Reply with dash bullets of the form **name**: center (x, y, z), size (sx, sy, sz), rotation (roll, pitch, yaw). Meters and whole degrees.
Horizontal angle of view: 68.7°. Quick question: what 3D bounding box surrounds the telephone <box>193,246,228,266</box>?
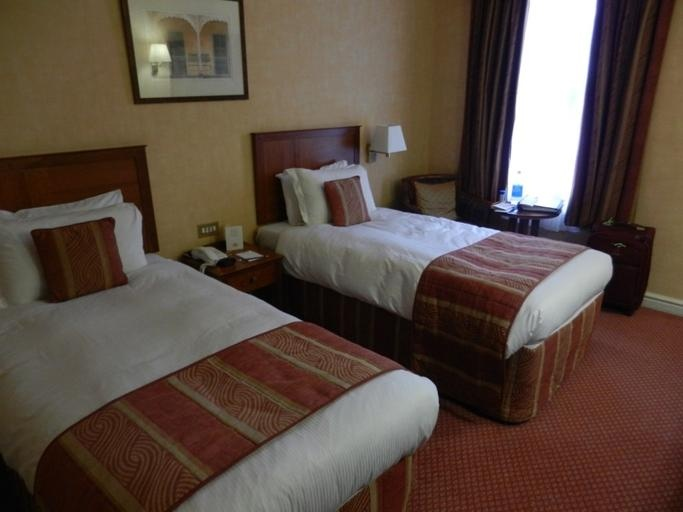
- **telephone**: center (-1.035, -0.021, 3.890), size (0.231, 0.079, 0.141), rotation (14, 25, 36)

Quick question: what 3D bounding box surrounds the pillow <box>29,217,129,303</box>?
- **pillow**: center (-1.619, 0.002, 3.116), size (0.532, 0.530, 0.144), rotation (-2, 8, -30)

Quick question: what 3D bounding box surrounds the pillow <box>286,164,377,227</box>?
- **pillow**: center (-0.216, -0.570, 4.316), size (0.631, 0.634, 0.186), rotation (-10, -5, -31)

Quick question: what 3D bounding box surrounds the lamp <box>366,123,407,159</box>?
- **lamp**: center (0.457, -1.215, 5.166), size (0.367, 0.443, 0.322), rotation (16, 30, 36)

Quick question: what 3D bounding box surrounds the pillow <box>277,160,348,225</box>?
- **pillow**: center (-0.299, -0.568, 4.323), size (0.158, 0.607, 0.554), rotation (9, 17, 43)

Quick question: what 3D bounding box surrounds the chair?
- **chair**: center (0.991, -0.652, 5.477), size (0.547, 0.647, 0.519), rotation (0, 9, 7)

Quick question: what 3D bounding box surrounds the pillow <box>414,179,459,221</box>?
- **pillow**: center (1.005, -0.587, 5.296), size (0.460, 0.517, 0.177), rotation (2, -14, -4)

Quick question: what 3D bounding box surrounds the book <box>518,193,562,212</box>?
- **book**: center (1.959, -0.531, 4.913), size (0.262, 0.082, 0.321), rotation (8, 17, 30)

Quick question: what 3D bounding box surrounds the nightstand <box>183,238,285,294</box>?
- **nightstand**: center (-0.829, -0.051, 3.915), size (0.449, 0.488, 0.456), rotation (23, 34, 34)
